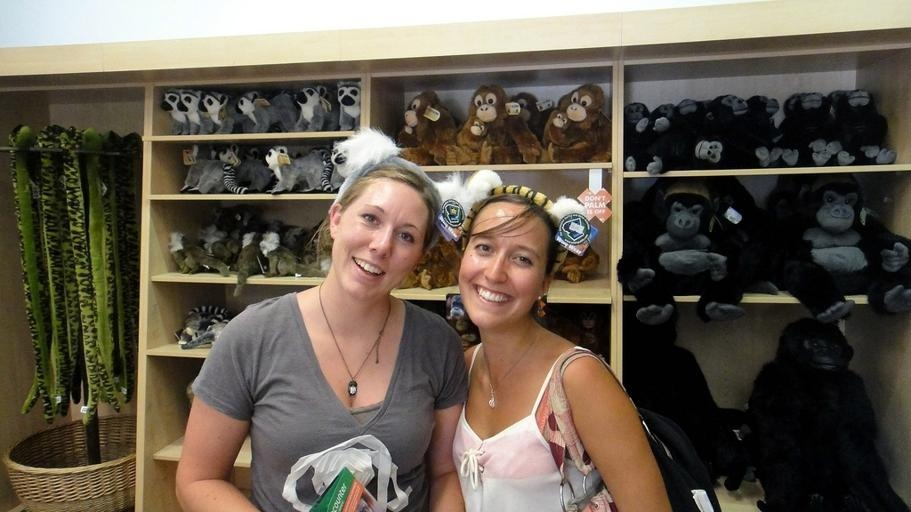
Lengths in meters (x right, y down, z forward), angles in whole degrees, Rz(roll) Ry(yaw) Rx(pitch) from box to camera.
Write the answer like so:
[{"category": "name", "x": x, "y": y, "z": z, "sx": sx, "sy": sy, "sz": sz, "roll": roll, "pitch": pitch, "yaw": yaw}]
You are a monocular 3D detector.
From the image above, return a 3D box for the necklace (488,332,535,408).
[{"category": "necklace", "x": 0.257, "y": 0.574, "z": 3.497, "sx": 0.157, "sy": 0.428, "sz": 0.022, "roll": 35, "pitch": 18, "yaw": 6}]

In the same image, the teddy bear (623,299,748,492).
[{"category": "teddy bear", "x": 1.341, "y": 0.919, "z": 4.616, "sx": 1.100, "sy": 0.584, "sz": 1.844, "roll": -3, "pitch": 1, "yaw": 19}]
